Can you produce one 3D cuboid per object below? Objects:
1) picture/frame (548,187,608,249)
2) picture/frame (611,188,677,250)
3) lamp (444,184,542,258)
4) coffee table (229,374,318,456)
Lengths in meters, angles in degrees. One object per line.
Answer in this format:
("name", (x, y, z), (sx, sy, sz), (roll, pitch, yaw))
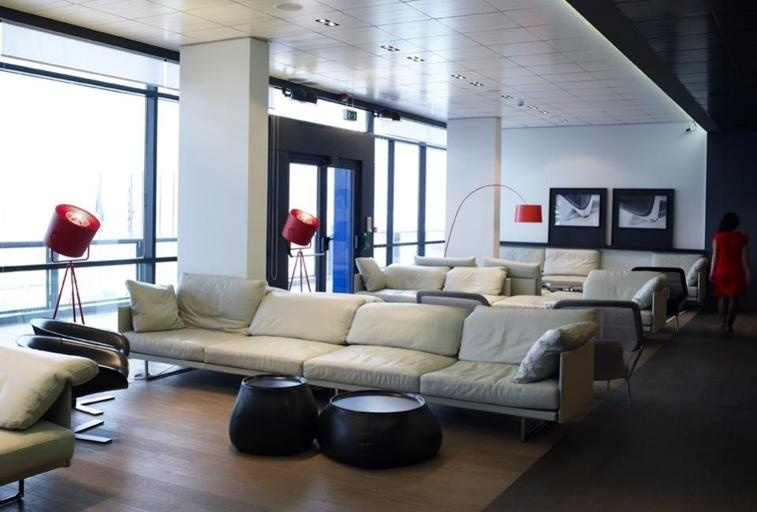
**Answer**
("picture/frame", (4.672, -0.904, 12.838), (1.527, 1.620, 0.084), (1, 1, 30))
("picture/frame", (5.930, -0.848, 12.279), (1.433, 1.524, 0.071), (2, 3, 32))
("lamp", (2.943, -0.829, 12.211), (1.765, 1.552, 2.752), (6, 8, 35))
("coffee table", (-0.920, 1.382, 4.834), (0.783, 0.547, 0.778), (0, -3, 33))
